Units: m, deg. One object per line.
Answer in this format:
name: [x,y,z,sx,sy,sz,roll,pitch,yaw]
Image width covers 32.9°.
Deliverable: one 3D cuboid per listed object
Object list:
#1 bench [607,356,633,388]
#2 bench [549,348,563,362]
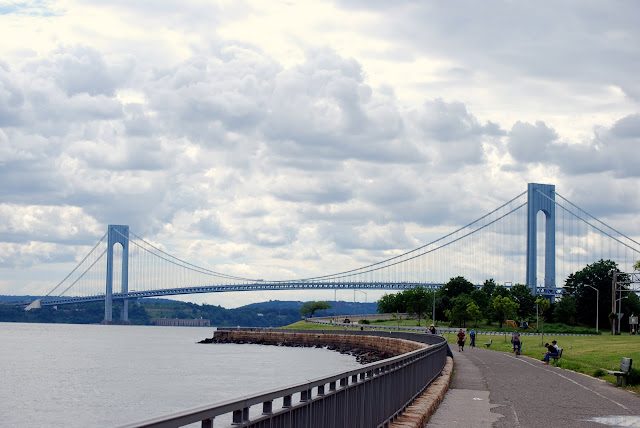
bench: [27.177,14.288,98.430,2.013,2.506,2.163,1,-8,6]
bench: [24.016,14.249,109.859,1.594,1.617,1.326,3,-8,-11]
